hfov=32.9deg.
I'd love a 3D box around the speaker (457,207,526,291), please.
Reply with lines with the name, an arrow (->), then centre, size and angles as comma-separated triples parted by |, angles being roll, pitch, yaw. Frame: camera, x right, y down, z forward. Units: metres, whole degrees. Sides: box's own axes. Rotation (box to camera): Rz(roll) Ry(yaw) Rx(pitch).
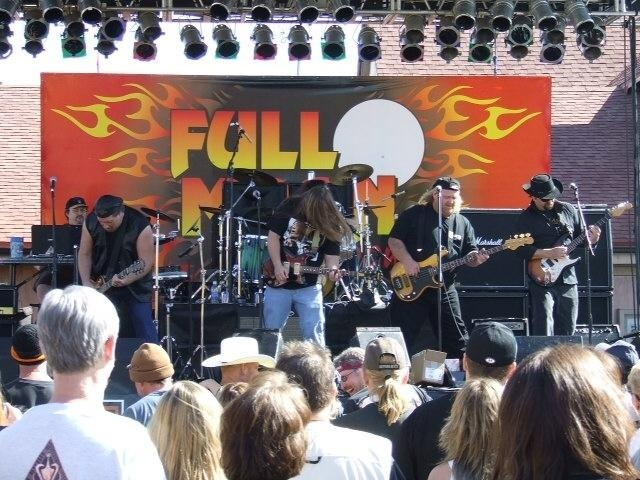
speaker -> 2.075, 0.140, 13.151 | 1.236, 1.079, 0.819 | -1, 2, 1

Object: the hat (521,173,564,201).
hat -> 2.428, -0.567, 11.968 | 0.367, 0.129, 0.303 | 14, 38, 27

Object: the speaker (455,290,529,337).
speaker -> 2.016, 0.691, 12.518 | 0.907, 0.762, 0.508 | 0, -10, 3

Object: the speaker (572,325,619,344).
speaker -> 3.083, 1.021, 11.900 | 0.422, 0.154, 0.278 | -1, 2, 5

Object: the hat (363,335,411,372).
hat -> 0.532, 0.913, 8.788 | 0.486, 0.246, 0.681 | 0, 0, 2

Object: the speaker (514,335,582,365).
speaker -> 1.740, 0.846, 8.396 | 0.545, 0.320, 0.266 | 0, -9, 1

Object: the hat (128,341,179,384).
hat -> -1.373, 1.001, 8.875 | 0.291, 0.212, 0.374 | -3, 3, -24

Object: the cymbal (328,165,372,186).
cymbal -> 0.368, -0.820, 13.415 | 0.332, 0.069, 0.333 | -18, -8, 41

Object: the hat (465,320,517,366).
hat -> 1.320, 0.805, 8.408 | 0.384, 0.341, 0.240 | 1, -7, 5

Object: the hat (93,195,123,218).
hat -> -2.214, -0.377, 11.503 | 0.220, 0.202, 0.271 | -5, -20, -15

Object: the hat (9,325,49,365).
hat -> -2.405, 0.853, 8.927 | 0.277, 0.326, 0.235 | 0, -7, 6

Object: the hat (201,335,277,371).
hat -> -0.701, 0.969, 9.346 | 0.383, 0.134, 0.362 | -11, -16, 35

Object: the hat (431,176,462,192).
hat -> 1.437, -0.634, 12.196 | 0.409, 0.182, 0.540 | 3, 0, 1
